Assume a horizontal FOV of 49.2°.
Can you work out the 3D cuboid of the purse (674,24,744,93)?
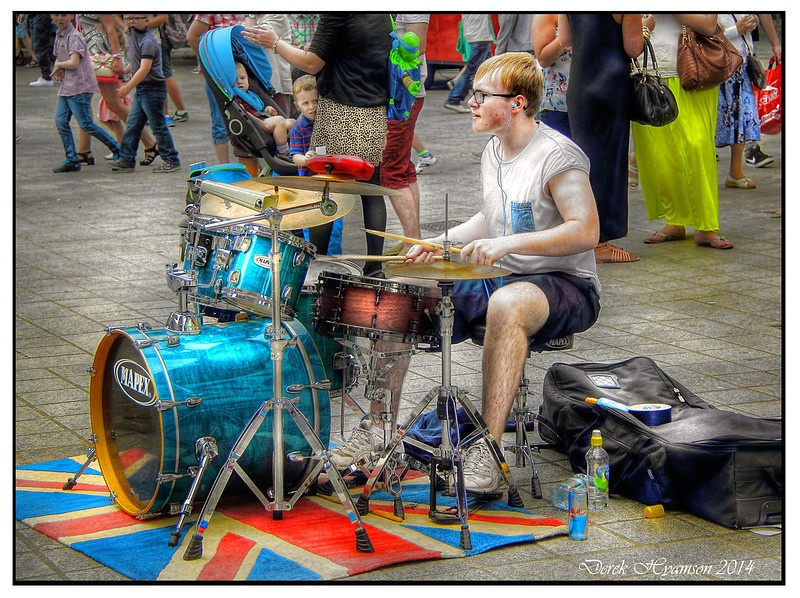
[{"bbox_3d":[2.741,-2.182,7.788,0.672,0.568,0.342,-17,10,-33],"label":"purse"}]

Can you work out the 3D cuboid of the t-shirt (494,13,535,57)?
[{"bbox_3d":[1.209,-2.779,9.128,0.374,0.425,0.548,1,11,7],"label":"t-shirt"}]

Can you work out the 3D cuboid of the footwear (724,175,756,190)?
[{"bbox_3d":[3.879,-1.323,9.981,0.291,0.092,0.150,1,15,9],"label":"footwear"}]

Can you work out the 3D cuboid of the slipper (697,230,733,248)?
[{"bbox_3d":[2.907,-0.550,8.177,0.349,0.118,0.143,7,24,37],"label":"slipper"}]

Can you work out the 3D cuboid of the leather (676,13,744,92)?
[{"bbox_3d":[2.749,-2.192,7.781,0.671,0.563,0.345,-21,17,-29],"label":"leather"}]

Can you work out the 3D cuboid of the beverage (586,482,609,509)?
[{"bbox_3d":[0.961,0.957,4.226,0.116,0.122,0.057,-3,12,-13],"label":"beverage"}]

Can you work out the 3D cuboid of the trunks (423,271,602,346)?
[{"bbox_3d":[0.652,0.031,4.474,0.557,0.196,0.566,-12,15,-21],"label":"trunks"}]

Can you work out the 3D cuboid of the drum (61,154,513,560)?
[{"bbox_3d":[-0.465,0.165,4.599,2.268,1.532,1.846,1,11,2],"label":"drum"}]

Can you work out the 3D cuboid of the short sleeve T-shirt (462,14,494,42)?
[{"bbox_3d":[1.239,-4.220,13.668,0.437,0.463,0.568,0,11,2],"label":"short sleeve T-shirt"}]

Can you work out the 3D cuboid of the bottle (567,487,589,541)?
[{"bbox_3d":[0.810,0.967,3.967,0.082,0.238,0.111,1,12,10],"label":"bottle"}]

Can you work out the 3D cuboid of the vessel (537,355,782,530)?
[{"bbox_3d":[1.448,0.695,4.684,1.024,0.412,1.515,-5,13,-24],"label":"vessel"}]

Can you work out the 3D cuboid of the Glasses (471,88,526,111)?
[{"bbox_3d":[0.479,-1.024,4.474,0.177,0.042,0.131,3,-1,-13],"label":"Glasses"}]

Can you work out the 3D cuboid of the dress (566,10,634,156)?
[{"bbox_3d":[1.672,-1.681,7.426,0.685,1.700,0.609,-1,14,10],"label":"dress"}]

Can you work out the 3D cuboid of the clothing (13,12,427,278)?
[{"bbox_3d":[-1.342,-1.324,6.673,2.652,2.489,1.567,-1,19,8],"label":"clothing"}]

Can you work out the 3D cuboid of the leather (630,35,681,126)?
[{"bbox_3d":[2.128,-1.809,7.313,0.378,0.722,0.587,2,12,15],"label":"leather"}]
